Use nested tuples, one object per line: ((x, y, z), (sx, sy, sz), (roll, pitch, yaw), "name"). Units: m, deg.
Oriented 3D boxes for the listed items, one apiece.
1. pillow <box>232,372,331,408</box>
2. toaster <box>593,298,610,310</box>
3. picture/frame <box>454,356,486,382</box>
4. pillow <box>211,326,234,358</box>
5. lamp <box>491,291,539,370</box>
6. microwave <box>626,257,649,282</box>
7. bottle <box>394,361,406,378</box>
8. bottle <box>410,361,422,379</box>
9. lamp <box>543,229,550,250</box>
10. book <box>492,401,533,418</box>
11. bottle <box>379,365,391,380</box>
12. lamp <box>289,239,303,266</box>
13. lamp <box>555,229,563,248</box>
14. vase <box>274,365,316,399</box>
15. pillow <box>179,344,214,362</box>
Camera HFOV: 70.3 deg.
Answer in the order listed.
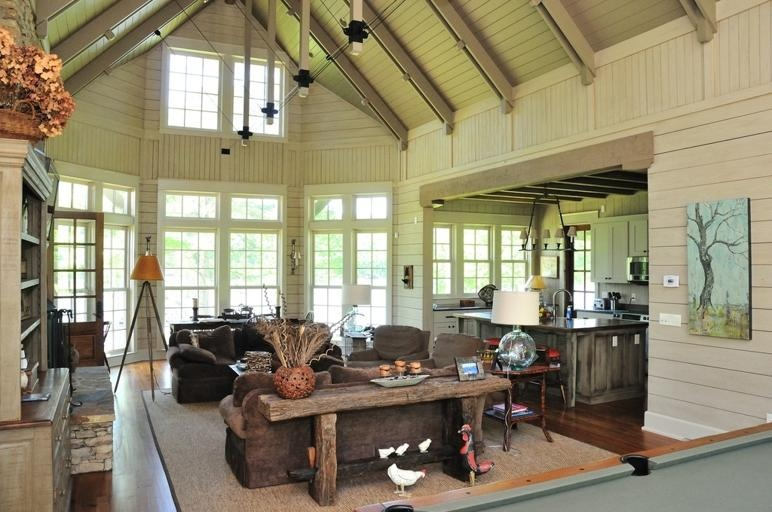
((-1.040, 1.370, 5.628), (0.534, 0.346, 0.511), (0, -1, -27), "pillow")
((4.615, 1.036, 11.708), (0.221, 0.264, 0.393), (2, -3, -20), "toaster")
((0.938, 1.274, 6.166), (0.296, 0.199, 0.029), (4, -20, -23), "picture/frame")
((-2.764, 1.475, 9.276), (0.471, 0.433, 0.185), (2, -15, -39), "pillow")
((1.556, 0.908, 6.533), (0.522, 0.991, 0.547), (-2, -3, 14), "lamp")
((5.062, 0.265, 11.029), (0.151, 0.522, 0.477), (-1, -3, -21), "microwave")
((0.133, 1.246, 6.100), (0.154, 0.154, 0.160), (-2, 4, -15), "bottle")
((0.362, 1.260, 6.113), (0.150, 0.137, 0.136), (0, -4, -14), "bottle")
((3.616, -0.405, 12.338), (0.169, 0.480, 1.316), (-3, -3, 17), "lamp")
((1.545, 1.906, 6.838), (0.282, 0.061, 0.270), (0, 0, -23), "book")
((0.010, 1.272, 6.044), (0.138, 0.107, 0.130), (0, -3, 0), "bottle")
((-1.959, -0.082, 12.039), (0.217, 0.580, 0.181), (-4, -3, 35), "lamp")
((3.790, -0.347, 11.958), (0.170, 0.404, 1.705), (-3, -3, 17), "lamp")
((-0.811, 1.294, 5.648), (0.449, 0.284, 0.420), (-7, -1, -39), "vase")
((-2.834, 1.487, 8.322), (0.329, 0.120, 0.320), (13, 0, -38), "pillow")
